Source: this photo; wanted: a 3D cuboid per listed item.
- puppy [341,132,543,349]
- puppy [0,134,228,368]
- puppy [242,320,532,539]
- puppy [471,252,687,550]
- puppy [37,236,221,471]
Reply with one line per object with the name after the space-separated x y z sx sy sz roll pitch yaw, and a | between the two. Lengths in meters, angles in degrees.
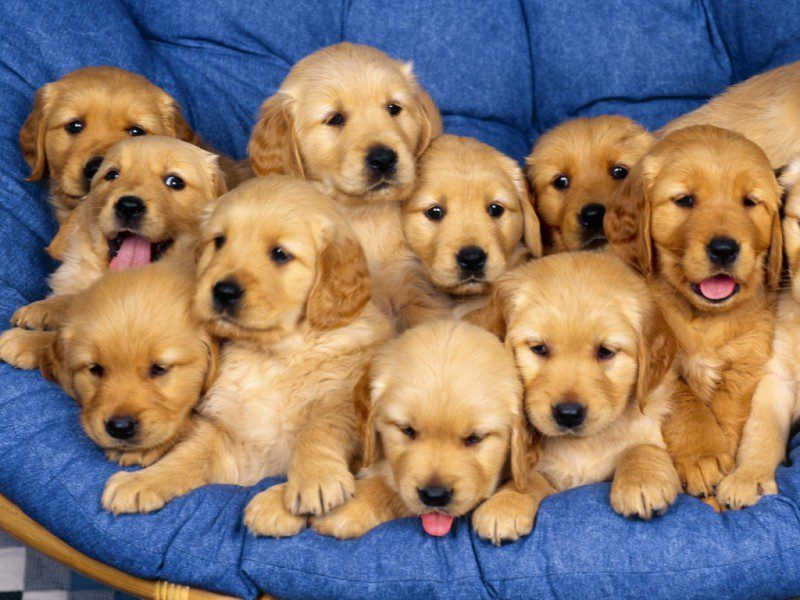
0.318 -0.483 5.598 0.908 0.942 1.166 -3 31 -7 | puppy
-1.490 -0.364 5.201 0.760 0.693 1.465 11 25 15 | puppy
0.137 0.593 4.394 0.878 0.659 0.806 -8 29 9 | puppy
0.831 0.358 4.557 0.889 0.829 1.247 4 26 5 | puppy
-1.209 0.228 4.668 0.639 0.389 0.976 2 36 -1 | puppy
